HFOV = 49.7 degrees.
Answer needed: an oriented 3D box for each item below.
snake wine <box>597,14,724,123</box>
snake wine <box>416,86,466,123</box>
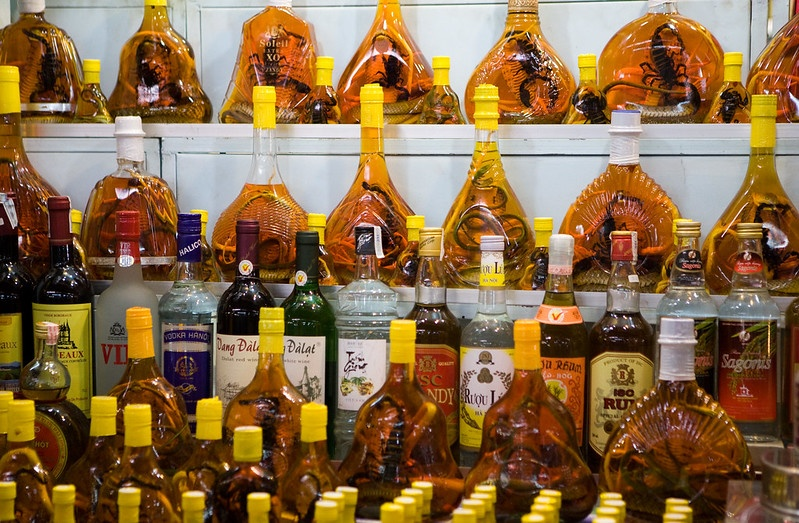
[{"bbox_3d":[0.516,-0.413,1.844,0.243,0.231,0.229,-7,16,-9],"label":"snake wine"},{"bbox_3d":[0.089,-0.328,1.814,0.093,0.092,0.072,0,-1,1],"label":"snake wine"}]
